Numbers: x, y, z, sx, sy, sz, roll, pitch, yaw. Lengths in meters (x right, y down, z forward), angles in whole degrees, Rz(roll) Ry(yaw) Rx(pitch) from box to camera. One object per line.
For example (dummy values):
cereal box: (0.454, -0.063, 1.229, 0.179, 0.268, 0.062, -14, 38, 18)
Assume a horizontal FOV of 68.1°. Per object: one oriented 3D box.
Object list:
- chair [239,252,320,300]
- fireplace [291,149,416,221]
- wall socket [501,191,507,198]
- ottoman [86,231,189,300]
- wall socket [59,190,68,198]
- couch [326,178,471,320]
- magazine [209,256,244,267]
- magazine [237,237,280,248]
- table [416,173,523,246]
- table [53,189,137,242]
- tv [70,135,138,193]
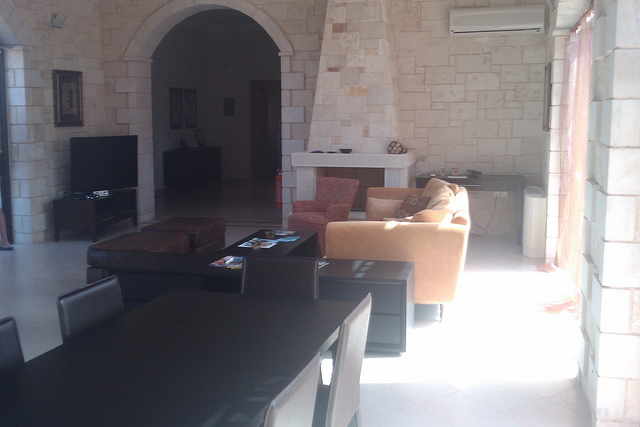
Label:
chair: (-0.235, 0.402, 3.251, 0.592, 0.276, 0.395, 3, 1, 15)
fireplace: (0.712, -0.478, 7.992, 2.551, 1.085, 1.132, 4, 12, 26)
wall socket: (3.065, -0.326, 7.858, 0.110, 0.097, 0.099, 2, 18, 11)
ottoman: (-1.735, 0.720, 4.519, 0.785, 0.633, 1.031, 1, 9, 7)
wall socket: (-4.336, -0.326, 7.983, 0.157, 0.138, 0.079, -2, 15, -9)
couch: (1.042, 0.206, 5.695, 1.415, 0.965, 2.493, 2, 12, 15)
magazine: (-0.797, 0.420, 4.204, 0.265, 0.018, 0.328, 3, 13, 13)
magazine: (-0.616, 0.299, 4.915, 0.336, 0.032, 0.435, 3, 13, 13)
table: (2.312, -0.117, 7.573, 1.784, 1.025, 0.595, 2, -4, 8)
table: (-3.806, -0.004, 8.020, 0.793, 0.681, 1.159, 3, 14, 14)
tv: (-3.643, -0.860, 8.126, 1.385, 0.915, 0.130, -2, -1, 16)
